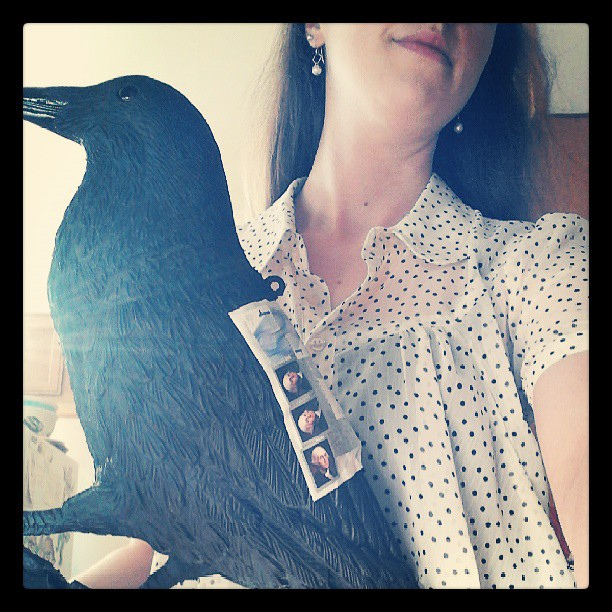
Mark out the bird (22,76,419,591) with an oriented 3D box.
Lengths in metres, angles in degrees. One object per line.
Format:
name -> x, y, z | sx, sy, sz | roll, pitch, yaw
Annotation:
bird -> -0.357, 0.166, 2.556 | 0.716, 0.658, 1.407 | -29, 62, -10

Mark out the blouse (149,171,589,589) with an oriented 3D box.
blouse -> 0.329, 0.198, 2.590 | 0.830, 0.528, 0.892 | -3, 60, 6

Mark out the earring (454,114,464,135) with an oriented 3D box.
earring -> 0.393, -0.460, 2.589 | 0.026, 0.026, 0.032 | -31, 61, -12

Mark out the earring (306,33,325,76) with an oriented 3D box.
earring -> 0.031, -0.629, 2.596 | 0.031, 0.035, 0.057 | 19, 65, 18
